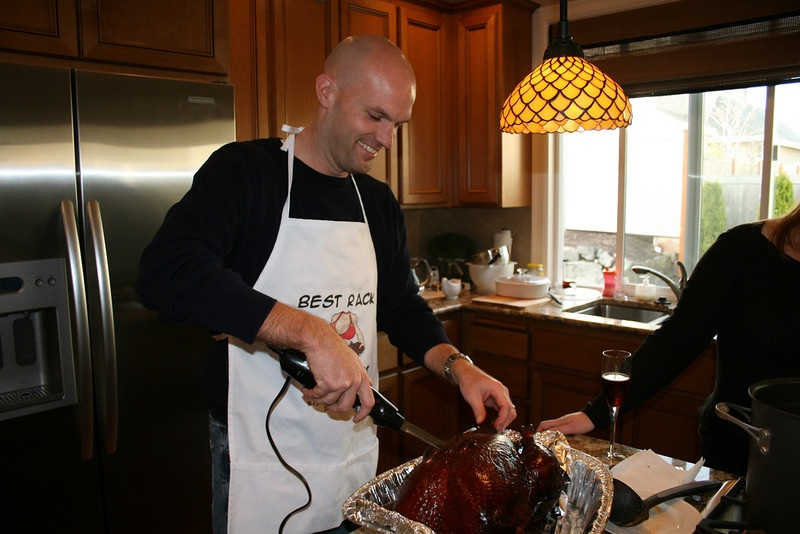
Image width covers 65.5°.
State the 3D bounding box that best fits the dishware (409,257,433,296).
[{"bbox_3d":[0.156,0.046,4.403,0.221,0.258,0.129,2,11,38],"label":"dishware"}]

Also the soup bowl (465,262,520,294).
[{"bbox_3d":[0.624,0.049,4.308,0.212,0.160,0.228,-1,3,0],"label":"soup bowl"}]

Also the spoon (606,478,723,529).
[{"bbox_3d":[0.799,0.666,1.853,0.332,0.146,0.100,-12,30,6],"label":"spoon"}]

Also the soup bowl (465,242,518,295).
[{"bbox_3d":[0.640,0.044,4.332,0.308,0.301,0.290,-1,-8,0],"label":"soup bowl"}]

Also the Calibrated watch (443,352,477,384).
[{"bbox_3d":[0.214,0.350,2.145,0.120,0.102,0.082,-5,9,-32],"label":"Calibrated watch"}]

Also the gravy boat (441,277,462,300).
[{"bbox_3d":[0.340,0.156,4.184,0.132,0.147,0.104,5,-3,-41],"label":"gravy boat"}]

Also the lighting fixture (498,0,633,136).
[{"bbox_3d":[0.607,-0.628,2.392,0.458,0.613,0.512,-2,2,-16],"label":"lighting fixture"}]
